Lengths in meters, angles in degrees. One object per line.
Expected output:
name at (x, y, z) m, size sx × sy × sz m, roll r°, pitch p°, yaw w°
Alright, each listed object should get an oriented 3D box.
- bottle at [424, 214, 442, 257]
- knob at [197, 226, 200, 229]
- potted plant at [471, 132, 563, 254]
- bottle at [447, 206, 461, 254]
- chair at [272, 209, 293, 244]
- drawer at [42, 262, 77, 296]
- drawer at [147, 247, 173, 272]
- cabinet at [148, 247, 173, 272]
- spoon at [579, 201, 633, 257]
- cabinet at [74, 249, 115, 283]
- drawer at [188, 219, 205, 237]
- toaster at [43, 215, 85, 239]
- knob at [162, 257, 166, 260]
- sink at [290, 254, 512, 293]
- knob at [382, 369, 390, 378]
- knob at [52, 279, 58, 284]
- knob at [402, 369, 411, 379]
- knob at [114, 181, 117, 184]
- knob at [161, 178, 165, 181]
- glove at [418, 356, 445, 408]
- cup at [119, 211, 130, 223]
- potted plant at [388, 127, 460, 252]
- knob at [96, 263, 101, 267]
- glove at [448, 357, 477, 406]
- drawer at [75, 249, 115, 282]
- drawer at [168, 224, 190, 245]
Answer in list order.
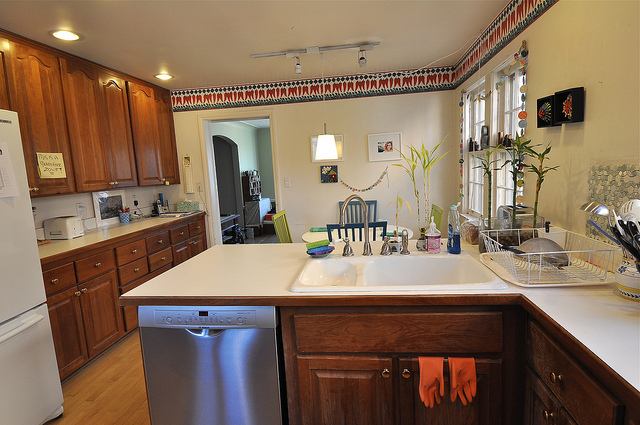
bottle at (0.819, 0.176, 2.992) m, size 0.126 × 0.234 × 0.249 m, roll 0°, pitch 8°, yaw 15°
knob at (-1.630, 0.196, 5.533) m, size 0.018 × 0.023 × 0.034 m, roll 5°, pitch 5°, yaw 13°
potted plant at (1.525, -0.120, 3.197) m, size 0.690 × 0.845 × 0.524 m, roll -7°, pitch 4°, yaw -37°
bottle at (0.956, 0.119, 2.936) m, size 0.085 × 0.329 × 0.100 m, roll 1°, pitch 10°, yaw 19°
chair at (-0.455, 0.197, 5.006) m, size 0.179 × 0.397 × 0.634 m, roll -3°, pitch 8°, yaw -4°
drawer at (-2.285, 0.545, 3.549) m, size 0.189 × 0.211 × 0.339 m, roll 3°, pitch 8°, yaw 12°
drawer at (-1.807, 0.526, 4.663) m, size 0.188 × 0.133 × 0.292 m, roll -1°, pitch 3°, yaw 5°
cabinet at (-1.810, 0.520, 4.665) m, size 0.173 × 0.131 × 0.272 m, roll -1°, pitch 2°, yaw 6°
spoon at (1.586, 0.079, 2.352) m, size 0.213 × 0.281 × 0.292 m, roll -2°, pitch 8°, yaw 3°
cabinet at (-2.174, 0.464, 3.879) m, size 0.264 × 0.194 × 0.405 m, roll 6°, pitch 14°, yaw 24°
drawer at (-1.639, 0.192, 5.475) m, size 0.168 × 0.134 × 0.274 m, roll 0°, pitch 2°, yaw 1°
toaster at (-2.538, 0.148, 4.087) m, size 0.244 × 0.186 × 0.237 m, roll -3°, pitch 3°, yaw 6°
knob at (-1.791, 0.520, 4.721) m, size 0.035 × 0.026 × 0.035 m, roll 0°, pitch 8°, yaw -5°
sink at (0.504, 0.430, 2.723) m, size 1.324 × 0.205 × 0.470 m, roll -2°, pitch 7°, yaw 5°
knob at (0.401, 0.975, 2.514) m, size 0.061 × 0.070 × 0.039 m, roll -1°, pitch -9°, yaw 10°
knob at (-2.221, 0.570, 3.460) m, size 0.040 × 0.040 × 0.013 m, roll 0°, pitch 1°, yaw -44°
knob at (0.523, 0.972, 2.504) m, size 0.037 × 0.046 × 0.018 m, roll -4°, pitch 3°, yaw 9°
knob at (-2.269, -0.335, 4.586) m, size 0.017 × 0.030 × 0.031 m, roll -3°, pitch 17°, yaw -5°
knob at (-2.041, -0.433, 5.378) m, size 0.040 × 0.027 × 0.023 m, roll 0°, pitch -5°, yaw -4°
glove at (0.673, 1.016, 2.494) m, size 0.149 × 0.305 × 0.060 m, roll -1°, pitch 9°, yaw 8°
cup at (-2.319, 0.036, 4.906) m, size 0.119 × 0.130 × 0.122 m, roll 1°, pitch -1°, yaw 0°
potted plant at (1.348, -0.294, 5.191) m, size 0.870 × 1.433 × 0.690 m, roll -1°, pitch 17°, yaw 22°
knob at (-2.061, 0.484, 3.851) m, size 0.021 × 0.020 × 0.022 m, roll -8°, pitch 13°, yaw 41°
glove at (0.859, 1.009, 2.484) m, size 0.161 × 0.288 × 0.046 m, roll -2°, pitch 9°, yaw 1°
drawer at (-2.155, 0.463, 3.879) m, size 0.239 × 0.187 × 0.377 m, roll 8°, pitch 16°, yaw 27°
drawer at (-1.729, 0.262, 5.027) m, size 0.165 × 0.125 × 0.266 m, roll -2°, pitch 1°, yaw 4°
